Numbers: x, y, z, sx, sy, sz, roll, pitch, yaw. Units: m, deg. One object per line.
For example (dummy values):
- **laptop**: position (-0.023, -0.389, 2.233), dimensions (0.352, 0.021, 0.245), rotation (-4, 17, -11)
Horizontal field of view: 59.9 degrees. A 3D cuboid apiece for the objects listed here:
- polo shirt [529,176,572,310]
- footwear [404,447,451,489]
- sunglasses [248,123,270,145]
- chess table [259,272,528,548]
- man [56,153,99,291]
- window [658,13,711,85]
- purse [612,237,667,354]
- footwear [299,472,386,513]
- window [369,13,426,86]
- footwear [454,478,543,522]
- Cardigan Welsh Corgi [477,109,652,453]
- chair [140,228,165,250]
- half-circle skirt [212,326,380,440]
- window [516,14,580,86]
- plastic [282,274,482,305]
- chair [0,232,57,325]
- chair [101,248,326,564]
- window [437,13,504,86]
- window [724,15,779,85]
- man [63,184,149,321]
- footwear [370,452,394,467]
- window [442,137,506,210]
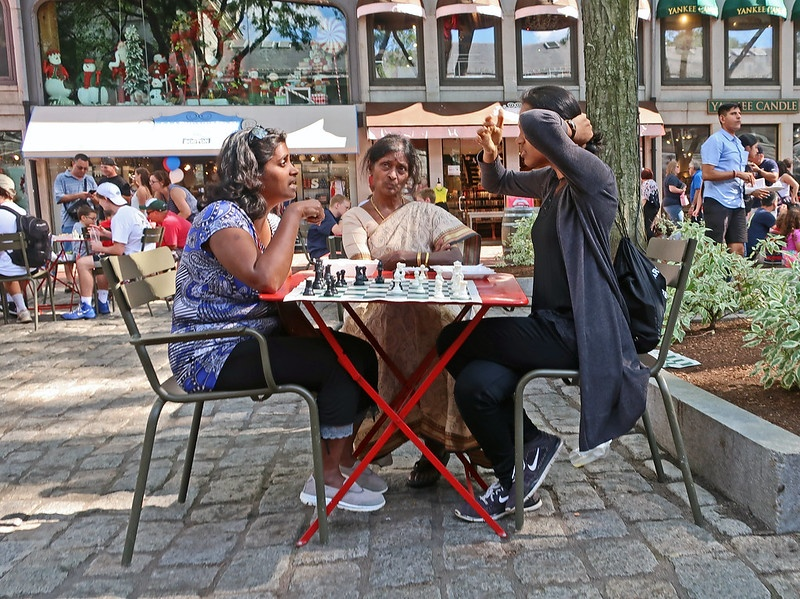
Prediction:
- **polo shirt**: position (0.866, -0.288, 3.868), dimensions (0.235, 0.708, 0.328), rotation (-1, 3, -21)
- **footwear**: position (0.182, 0.974, 4.275), dimensions (0.174, 0.216, 0.491), rotation (-4, 13, 22)
- **sunglasses**: position (-0.754, -0.893, 3.719), dimensions (0.086, 0.096, 0.025), rotation (1, -16, -2)
- **chess table**: position (0.059, 0.544, 3.983), dimensions (1.279, 1.251, 1.337), rotation (0, 4, 1)
- **man**: position (-5.517, -1.394, 12.014), dimensions (0.729, 2.183, 0.840), rotation (5, 7, 29)
- **window**: position (7.744, -6.949, 18.960), dimensions (1.669, 2.527, 0.178), rotation (-2, 6, -1)
- **purse**: position (1.289, -0.010, 3.728), dimensions (0.309, 0.617, 0.490), rotation (-5, 16, 7)
- **footwear**: position (-0.312, 1.007, 3.719), dimensions (0.480, 0.192, 0.197), rotation (6, -3, -11)
- **window**: position (-0.085, -6.569, 17.979), dimensions (1.684, 2.089, 0.111), rotation (-1, 5, -3)
- **footwear**: position (0.563, 1.102, 3.806), dimensions (0.519, 0.223, 0.181), rotation (-1, -2, -7)
- **Cardigan Welsh Corgi**: position (0.950, -0.107, 3.892), dimensions (0.817, 1.866, 0.925), rotation (-8, 9, -9)
- **chair**: position (-3.411, -0.874, 9.656), dimensions (0.237, 0.293, 0.556), rotation (-2, 12, -4)
- **half-circle skirt**: position (-0.516, 0.378, 3.679), dimensions (0.605, 0.252, 0.614), rotation (4, 9, 4)
- **window**: position (3.918, -6.810, 18.552), dimensions (2.153, 2.329, 0.153), rotation (-10, 18, -21)
- **plastic**: position (-0.073, -0.033, 3.521), dimensions (0.962, 0.183, 0.537), rotation (-1, 12, 2)
- **chair**: position (-4.917, -0.297, 9.245), dimensions (0.649, 1.272, 2.167), rotation (-8, 13, -26)
- **chair**: position (-0.950, 0.572, 3.898), dimensions (1.279, 1.591, 1.238), rotation (-2, 5, 18)
- **window**: position (1.795, -6.648, 18.195), dimensions (1.711, 1.950, 0.163), rotation (-1, 0, -6)
- **window**: position (9.755, -7.034, 19.293), dimensions (1.629, 2.159, 0.089), rotation (-3, 3, -7)
- **man**: position (-4.058, -0.683, 9.810), dimensions (1.118, 1.963, 0.880), rotation (3, -2, -6)
- **footwear**: position (-0.114, 0.986, 4.248), dimensions (0.096, 0.101, 0.112), rotation (0, -3, 8)
- **window**: position (1.826, -3.131, 18.835), dimensions (1.379, 2.264, 1.361), rotation (-2, -11, -8)
